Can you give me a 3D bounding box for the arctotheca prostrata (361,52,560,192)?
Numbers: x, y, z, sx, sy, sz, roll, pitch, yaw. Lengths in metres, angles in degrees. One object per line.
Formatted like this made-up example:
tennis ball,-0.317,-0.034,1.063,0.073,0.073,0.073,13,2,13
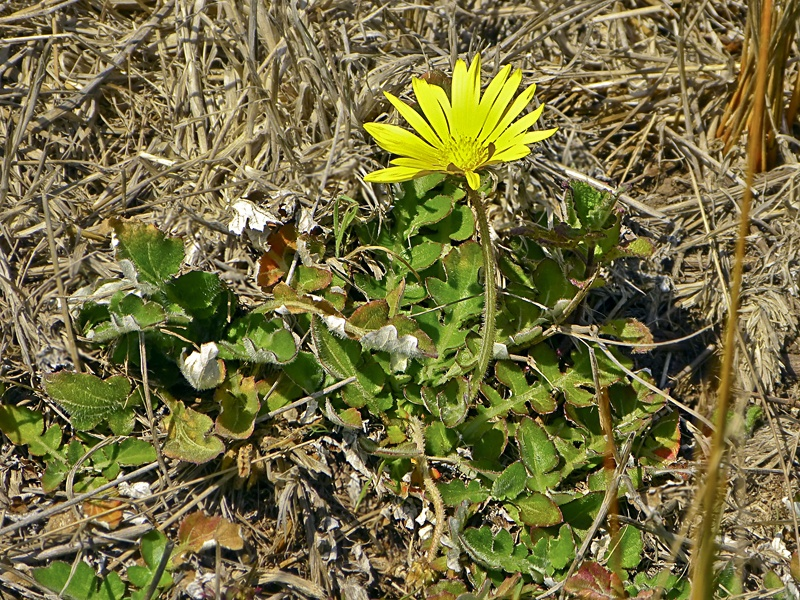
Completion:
arctotheca prostrata,0.196,-0.564,3.191,0.506,0.228,0.577,-26,42,13
